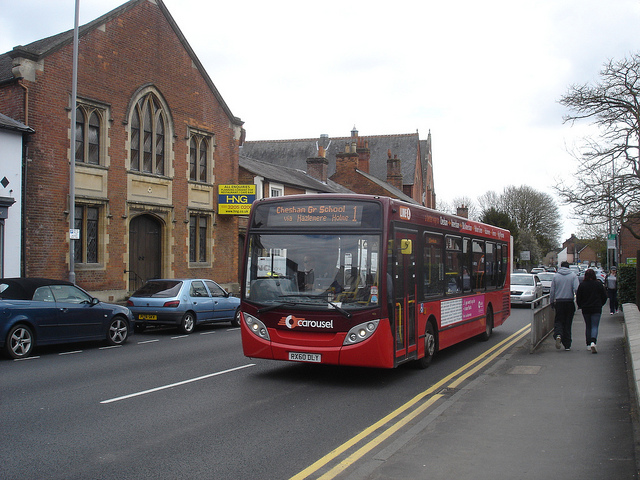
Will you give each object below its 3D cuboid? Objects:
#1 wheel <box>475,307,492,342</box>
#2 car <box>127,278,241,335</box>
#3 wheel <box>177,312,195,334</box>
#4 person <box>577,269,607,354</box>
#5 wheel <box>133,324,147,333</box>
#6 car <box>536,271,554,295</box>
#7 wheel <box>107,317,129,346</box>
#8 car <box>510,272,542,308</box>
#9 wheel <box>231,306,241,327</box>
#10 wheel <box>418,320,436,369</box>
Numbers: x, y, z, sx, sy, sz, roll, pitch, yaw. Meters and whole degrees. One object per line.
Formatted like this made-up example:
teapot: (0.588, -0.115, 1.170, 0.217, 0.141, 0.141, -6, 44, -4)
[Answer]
wheel: (4.730, 2.452, 15.769, 0.256, 0.861, 0.793, -5, -22, 28)
car: (-4.412, 2.206, 18.265, 3.563, 1.410, 1.181, 2, -2, -44)
wheel: (-4.361, 2.684, 17.671, 0.192, 0.719, 0.644, -8, -4, 19)
person: (6.481, 1.694, 12.962, 0.667, 2.177, 0.449, 0, 0, -8)
wheel: (-6.072, 2.995, 18.401, 0.339, 0.211, 0.527, -1, 2, -3)
car: (12.289, 2.385, 29.787, 0.992, 1.151, 2.008, 0, 9, 19)
wheel: (-5.597, 2.520, 14.993, 0.208, 0.761, 0.676, -9, -8, 29)
car: (11.068, 2.602, 29.154, 1.551, 1.809, 2.383, 0, -1, 23)
wheel: (-3.142, 2.872, 20.187, 0.299, 0.616, 0.448, 0, -1, -14)
wheel: (2.258, 2.196, 11.563, 0.368, 1.080, 0.966, -2, -4, 19)
